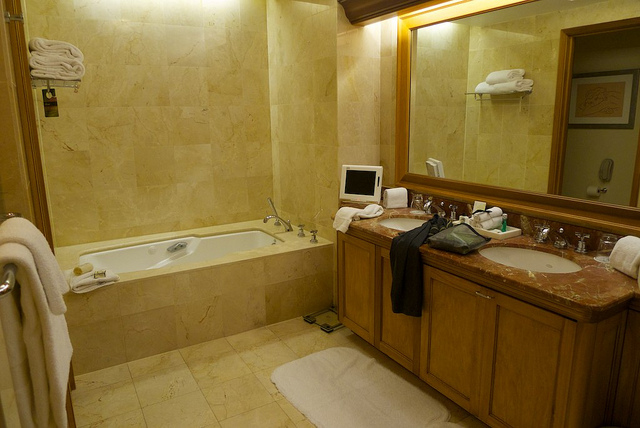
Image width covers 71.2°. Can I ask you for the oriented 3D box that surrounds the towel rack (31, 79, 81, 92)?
[{"bbox_3d":[-2.043,-0.997,3.467,0.312,0.073,0.295,-10,17,-29],"label":"towel rack"}]

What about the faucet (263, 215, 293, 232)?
[{"bbox_3d":[-0.478,0.107,4.738,0.350,0.221,0.135,-5,5,-25],"label":"faucet"}]

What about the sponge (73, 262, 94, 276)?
[{"bbox_3d":[-1.952,0.444,3.677,0.090,0.082,0.135,12,12,9],"label":"sponge"}]

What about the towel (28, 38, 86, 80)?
[{"bbox_3d":[-1.969,-1.188,3.488,0.416,0.170,0.427,9,23,-31],"label":"towel"}]

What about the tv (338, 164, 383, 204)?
[{"bbox_3d":[0.361,-0.262,3.995,0.307,0.279,0.133,8,8,21],"label":"tv"}]

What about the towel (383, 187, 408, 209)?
[{"bbox_3d":[0.657,-0.150,3.966,0.217,0.199,0.162,-3,7,-22],"label":"towel"}]

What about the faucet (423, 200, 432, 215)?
[{"bbox_3d":[0.889,-0.051,3.705,0.083,0.115,0.114,0,10,6],"label":"faucet"}]

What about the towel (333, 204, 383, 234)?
[{"bbox_3d":[0.311,0.009,3.727,0.265,0.118,0.262,-11,12,-33],"label":"towel"}]

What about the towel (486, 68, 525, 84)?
[{"bbox_3d":[1.367,-1.004,3.261,0.142,0.052,0.141,-12,15,-25],"label":"towel"}]

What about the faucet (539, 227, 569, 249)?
[{"bbox_3d":[1.588,0.154,3.018,0.106,0.119,0.177,-11,17,-32],"label":"faucet"}]
